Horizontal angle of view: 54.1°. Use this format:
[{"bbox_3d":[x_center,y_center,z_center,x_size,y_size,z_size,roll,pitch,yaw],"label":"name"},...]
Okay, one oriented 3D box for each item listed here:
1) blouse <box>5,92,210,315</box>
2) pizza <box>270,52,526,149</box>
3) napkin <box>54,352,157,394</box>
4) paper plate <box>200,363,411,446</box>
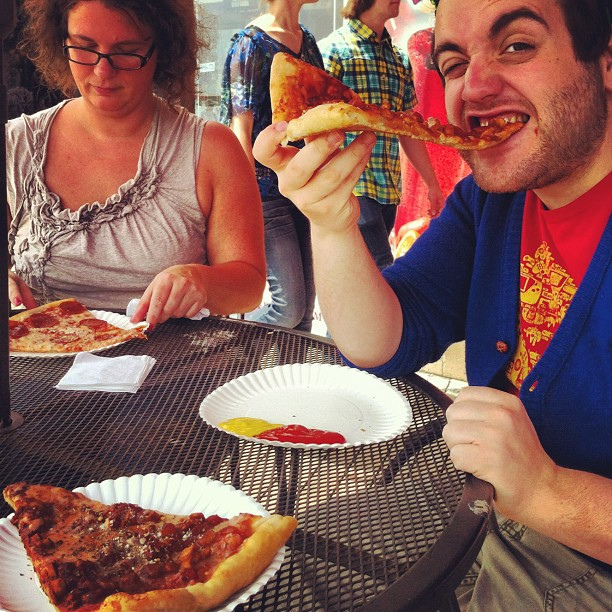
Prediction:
[{"bbox_3d":[-0.840,-0.410,2.492,0.981,0.950,0.589,-1,29,-4],"label":"blouse"},{"bbox_3d":[0.202,-0.459,1.391,0.489,0.129,0.321,-2,11,-6],"label":"pizza"},{"bbox_3d":[-0.486,0.163,1.451,0.121,0.022,0.113,3,28,7],"label":"napkin"},{"bbox_3d":[-0.003,0.213,1.342,0.419,0.049,0.381,-9,15,-19],"label":"paper plate"}]
